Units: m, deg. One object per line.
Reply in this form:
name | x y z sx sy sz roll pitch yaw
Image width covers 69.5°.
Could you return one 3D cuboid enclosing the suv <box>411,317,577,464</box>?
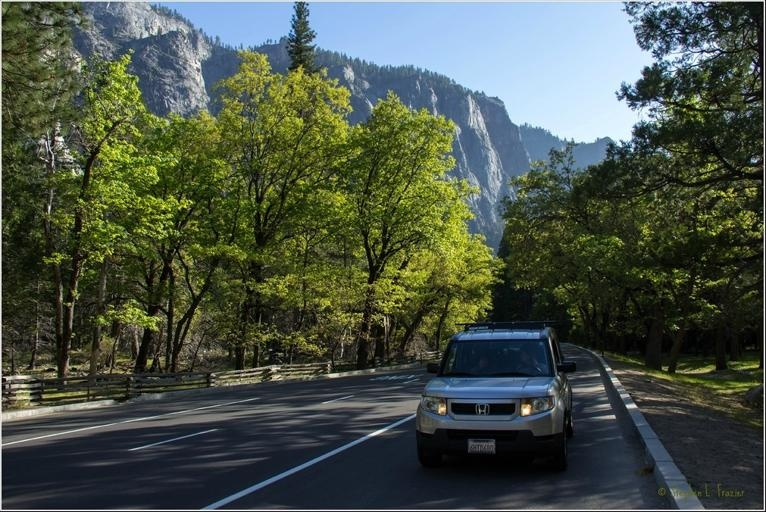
suv | 2.596 3.005 12.419 2.267 2.036 4.164 -4 -18 15
